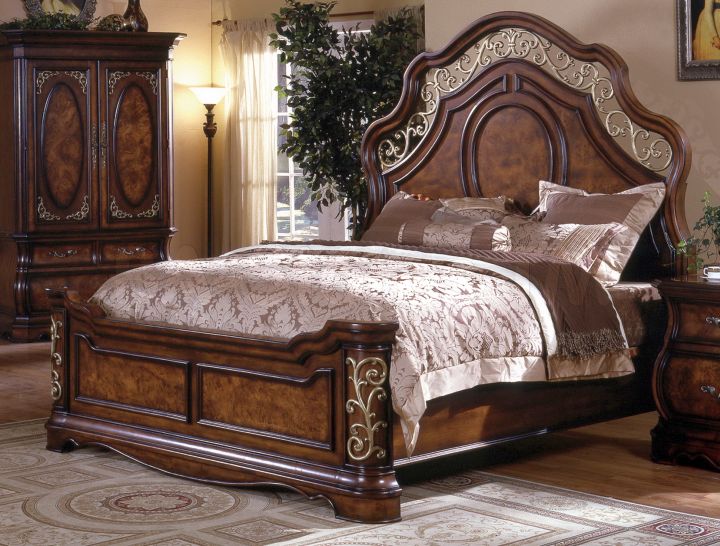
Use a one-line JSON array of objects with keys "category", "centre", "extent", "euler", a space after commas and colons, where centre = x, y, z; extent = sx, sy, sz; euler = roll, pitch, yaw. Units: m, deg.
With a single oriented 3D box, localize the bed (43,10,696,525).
[{"category": "bed", "centre": [0.147, -0.309, 3.480], "extent": [2.154, 2.048, 2.716], "euler": [3, 9, 43]}]
